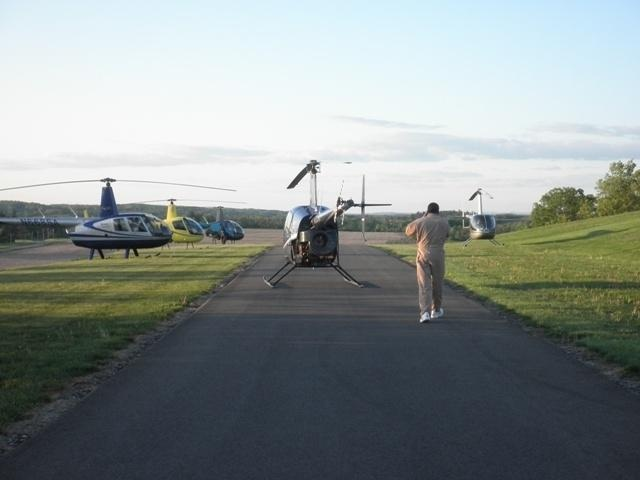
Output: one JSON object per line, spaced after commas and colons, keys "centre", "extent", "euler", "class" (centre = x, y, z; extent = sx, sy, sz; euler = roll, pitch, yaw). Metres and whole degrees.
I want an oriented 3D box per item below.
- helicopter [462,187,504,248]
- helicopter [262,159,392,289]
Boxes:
{"centre": [13.315, -1.092, 44.201], "extent": [2.631, 4.689, 2.703], "euler": [9, 10, 42], "class": "helicopter"}
{"centre": [-0.278, -0.710, 16.597], "extent": [2.678, 3.320, 7.159], "euler": [0, 0, -32], "class": "helicopter"}
